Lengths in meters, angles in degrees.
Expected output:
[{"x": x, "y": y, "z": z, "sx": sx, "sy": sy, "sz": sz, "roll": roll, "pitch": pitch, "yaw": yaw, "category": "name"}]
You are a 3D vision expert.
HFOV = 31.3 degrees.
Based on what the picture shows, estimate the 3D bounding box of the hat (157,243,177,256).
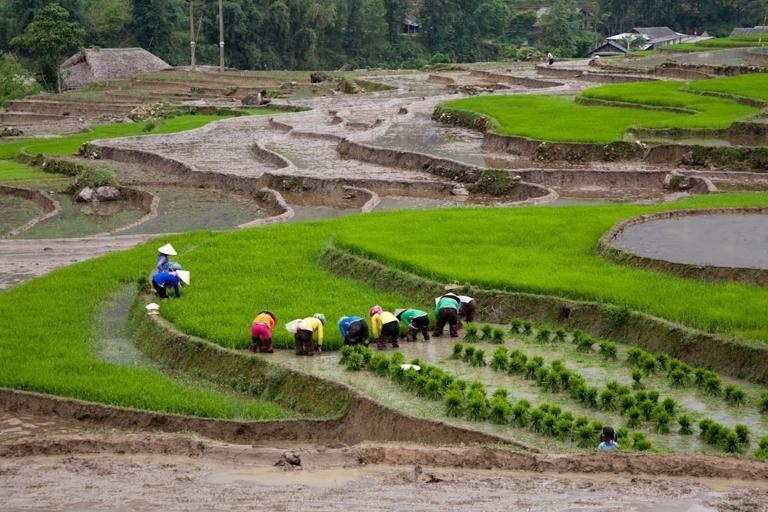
[{"x": -9.232, "y": -0.247, "z": 57.767, "sx": 0.691, "sy": 0.257, "sz": 0.669, "roll": 7, "pitch": 7, "yaw": 35, "category": "hat"}]

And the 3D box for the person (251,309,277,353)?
[{"x": -4.819, "y": 2.984, "z": 54.273, "sx": 0.902, "sy": 1.482, "sz": 0.921, "roll": 0, "pitch": 17, "yaw": 3, "category": "person"}]

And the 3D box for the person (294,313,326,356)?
[{"x": -2.926, "y": 3.080, "z": 54.146, "sx": 0.744, "sy": 1.507, "sz": 1.264, "roll": 15, "pitch": 23, "yaw": 42, "category": "person"}]

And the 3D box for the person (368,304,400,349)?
[{"x": 0.045, "y": 2.821, "z": 54.549, "sx": 1.071, "sy": 1.531, "sz": 1.115, "roll": -3, "pitch": 17, "yaw": -6, "category": "person"}]

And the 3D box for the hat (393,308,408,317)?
[{"x": 0.670, "y": 2.275, "z": 54.979, "sx": 0.410, "sy": 0.221, "sz": 0.474, "roll": -1, "pitch": -2, "yaw": -5, "category": "hat"}]

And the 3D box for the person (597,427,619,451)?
[{"x": 8.228, "y": 6.648, "z": 50.071, "sx": 0.984, "sy": 0.313, "sz": 0.663, "roll": -13, "pitch": 15, "yaw": -35, "category": "person"}]

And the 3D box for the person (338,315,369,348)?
[{"x": -1.189, "y": 3.007, "z": 54.340, "sx": 1.162, "sy": 1.151, "sz": 0.790, "roll": -2, "pitch": 17, "yaw": -3, "category": "person"}]

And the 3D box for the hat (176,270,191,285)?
[{"x": -8.496, "y": 0.868, "z": 57.563, "sx": 0.594, "sy": 0.655, "sz": 0.703, "roll": -2, "pitch": 16, "yaw": -1, "category": "hat"}]
